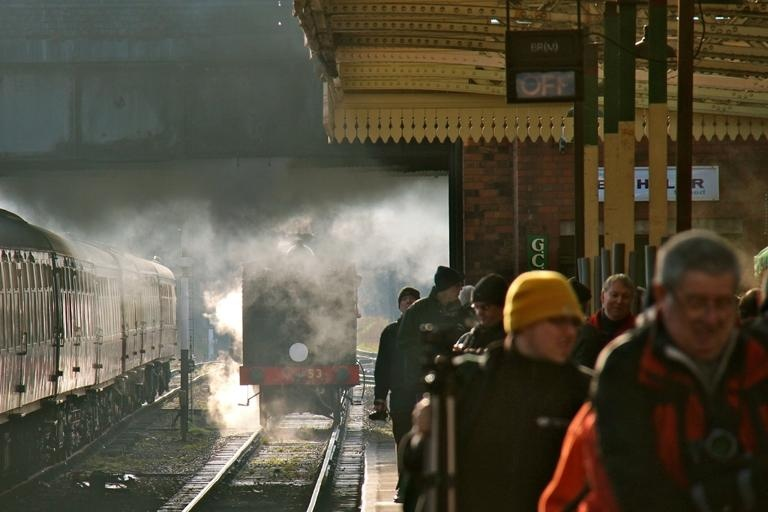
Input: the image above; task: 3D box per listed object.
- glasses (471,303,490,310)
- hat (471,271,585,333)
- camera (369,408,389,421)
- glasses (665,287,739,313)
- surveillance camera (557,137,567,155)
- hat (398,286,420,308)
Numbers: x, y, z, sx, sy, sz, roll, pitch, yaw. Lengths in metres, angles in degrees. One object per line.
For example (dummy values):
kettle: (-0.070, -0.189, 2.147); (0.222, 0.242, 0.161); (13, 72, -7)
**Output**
glasses: (0.961, 0.477, 10.688); (0.069, 0.069, 0.078); (-2, -8, 37)
hat: (1.335, 0.364, 9.559); (0.579, 0.456, 0.531); (-26, -1, 20)
camera: (-0.077, 1.935, 13.273); (0.167, 0.074, 0.162); (0, 1, 8)
glasses: (2.614, 0.362, 8.857); (0.562, 0.148, 0.103); (2, -1, -7)
surveillance camera: (3.175, -1.990, 19.379); (0.186, 0.376, 0.365); (1, -1, 3)
hat: (0.316, 0.529, 14.359); (0.213, 0.253, 0.285); (3, -42, 3)
